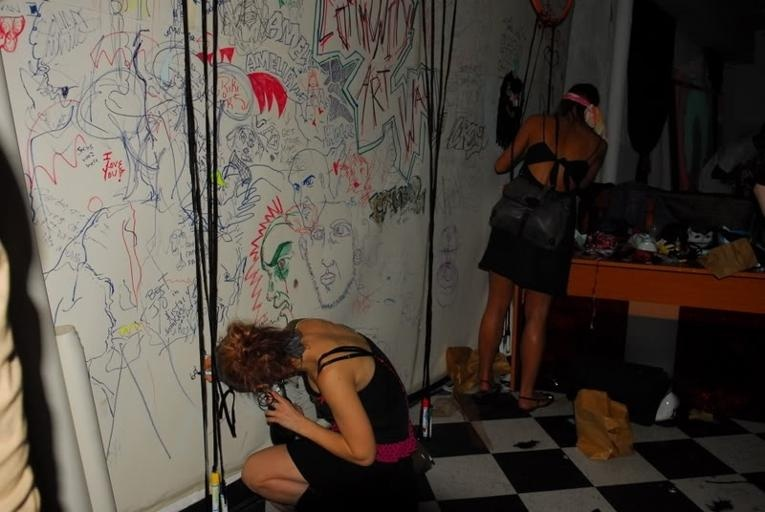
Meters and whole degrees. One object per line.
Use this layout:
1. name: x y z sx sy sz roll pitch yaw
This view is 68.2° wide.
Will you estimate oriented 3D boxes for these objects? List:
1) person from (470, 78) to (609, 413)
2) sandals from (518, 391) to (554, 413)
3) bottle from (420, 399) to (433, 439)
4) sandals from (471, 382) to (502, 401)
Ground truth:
1. person: 0.846 -0.024 3.068 0.632 1.753 0.421 2 11 13
2. sandals: 0.858 0.806 3.174 0.191 0.083 0.096 -11 17 -24
3. bottle: 0.216 0.806 2.819 0.057 0.220 0.076 -1 0 5
4. sandals: 0.604 0.775 3.275 0.072 0.080 0.209 1 -2 40
